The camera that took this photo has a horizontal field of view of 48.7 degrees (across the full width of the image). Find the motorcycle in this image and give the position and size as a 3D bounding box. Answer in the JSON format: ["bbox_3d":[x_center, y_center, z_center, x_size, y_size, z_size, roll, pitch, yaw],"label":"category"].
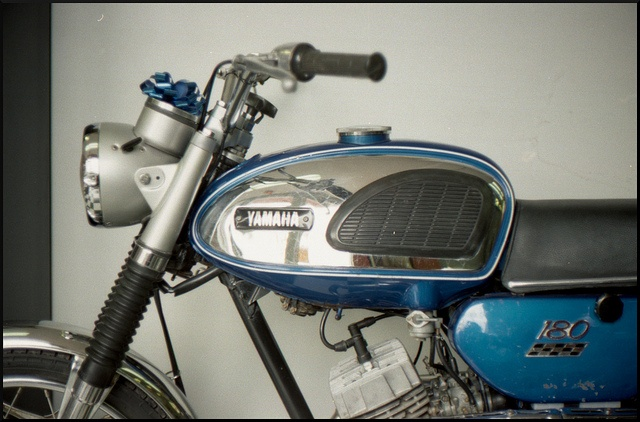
[{"bbox_3d":[0.026,0.122,1.769,1.514,0.981,0.453,4,-4,15],"label":"motorcycle"}]
